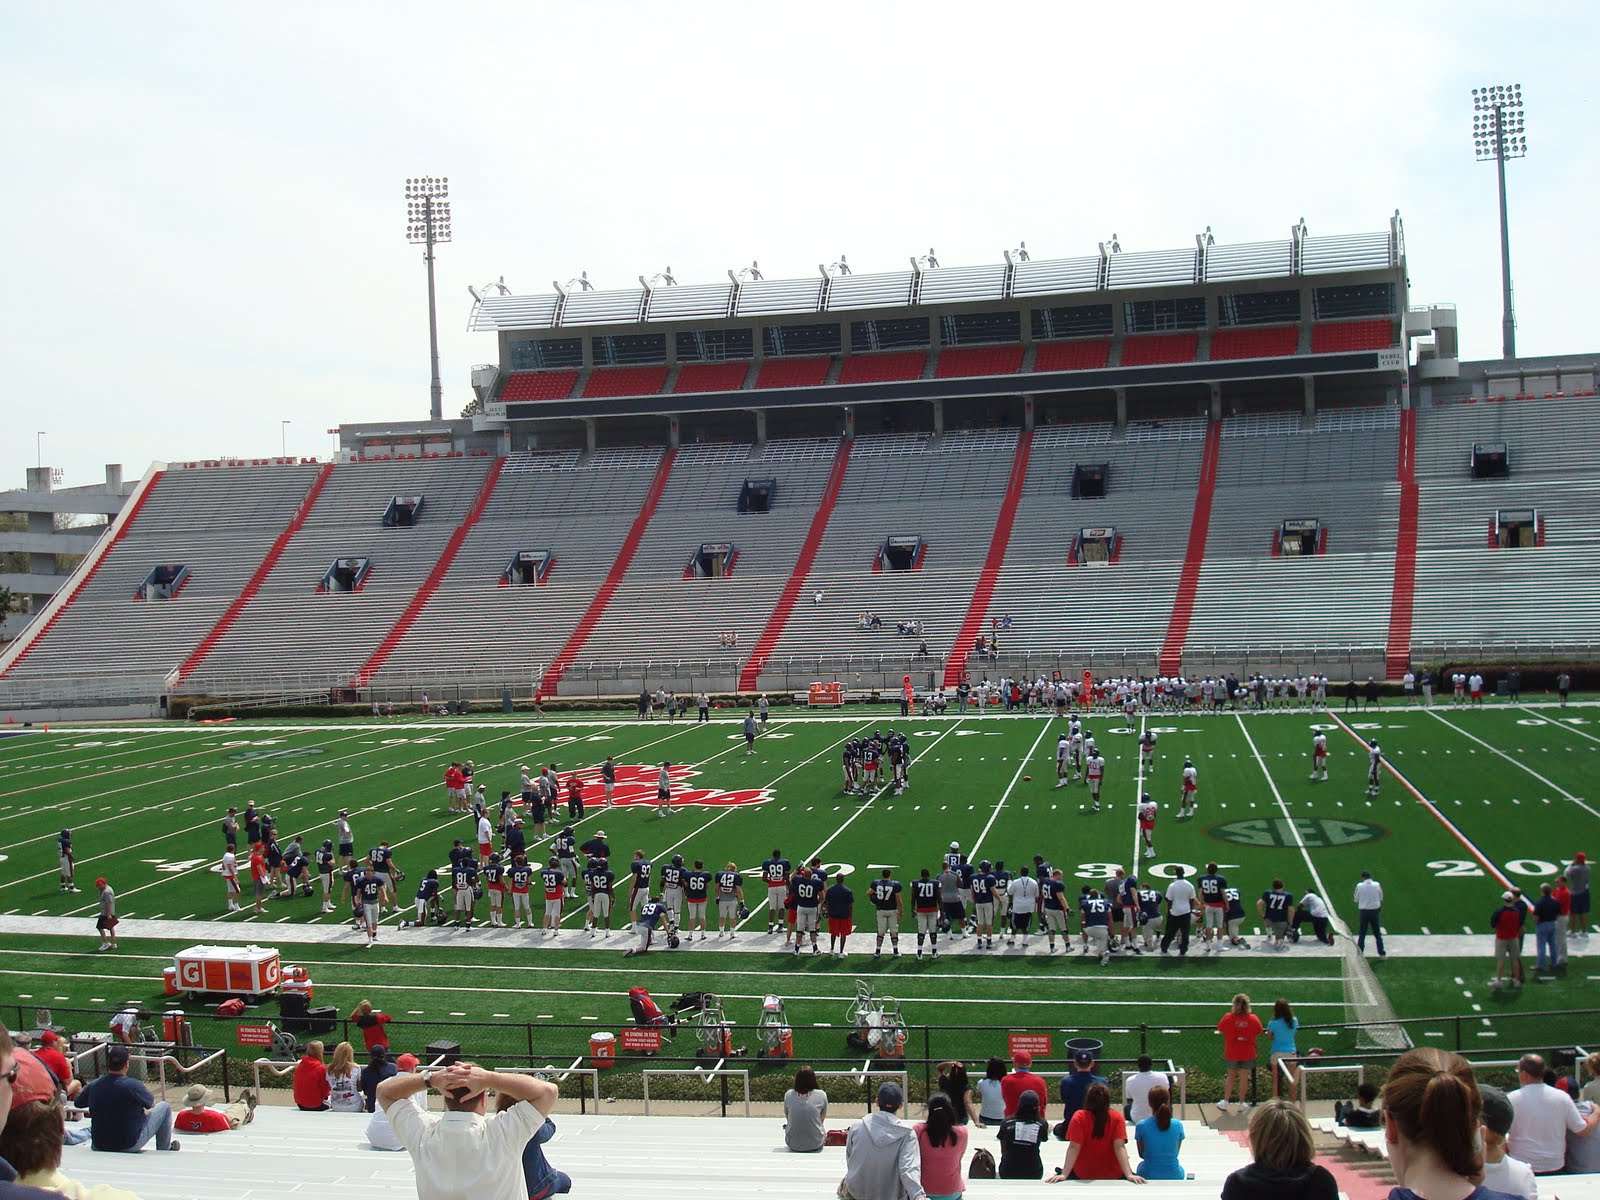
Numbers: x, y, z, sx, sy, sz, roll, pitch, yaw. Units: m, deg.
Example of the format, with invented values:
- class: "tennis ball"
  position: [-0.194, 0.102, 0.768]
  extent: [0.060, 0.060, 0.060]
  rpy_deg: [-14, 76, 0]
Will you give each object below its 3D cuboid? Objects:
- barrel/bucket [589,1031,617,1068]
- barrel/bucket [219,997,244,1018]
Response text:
- class: "barrel/bucket"
  position: [-2.674, 6.045, 29.296]
  extent: [0.405, 0.405, 0.396]
  rpy_deg: [2, 3, 0]
- class: "barrel/bucket"
  position: [-8.184, 5.853, 31.071]
  extent: [0.295, 0.147, 0.335]
  rpy_deg: [-1, 8, 2]
